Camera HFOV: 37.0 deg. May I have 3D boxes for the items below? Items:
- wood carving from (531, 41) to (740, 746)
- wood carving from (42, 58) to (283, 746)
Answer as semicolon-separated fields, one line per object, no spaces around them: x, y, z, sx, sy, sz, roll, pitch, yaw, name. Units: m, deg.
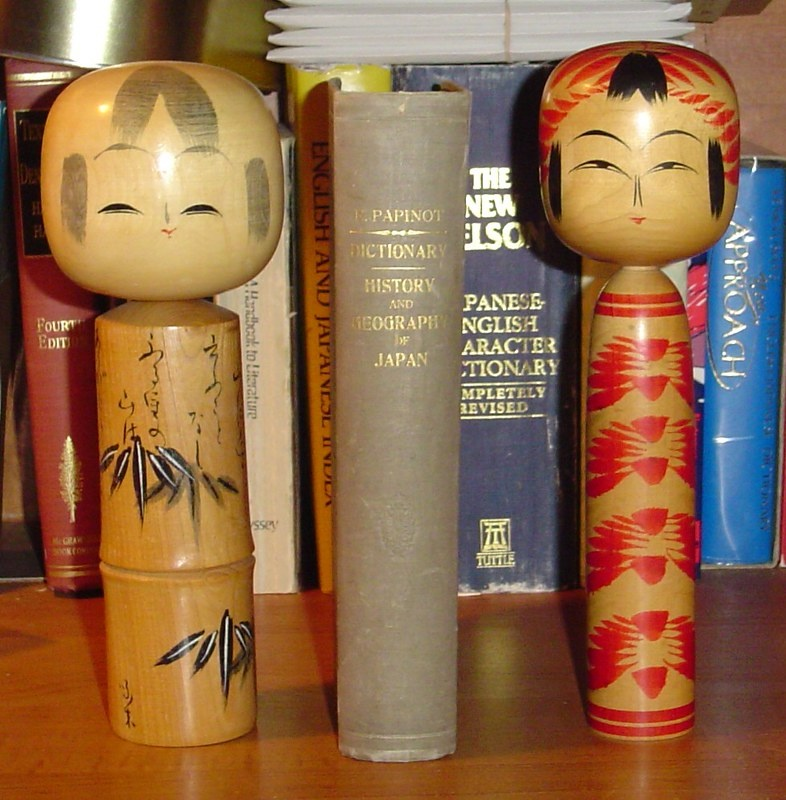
0.133;-0.005;0.637;0.105;0.370;0.103;0;15;6;wood carving
-0.111;0.006;0.627;0.124;0.363;0.078;-5;15;-14;wood carving
